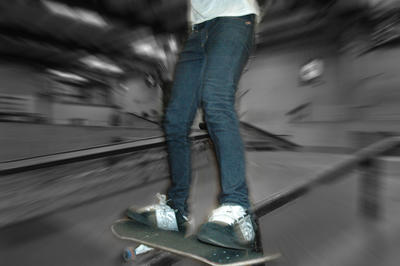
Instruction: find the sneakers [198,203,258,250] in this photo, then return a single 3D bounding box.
[{"bbox_3d":[0.090,0.291,0.592,0.123,0.084,0.202,-8,-26,26],"label":"sneakers"}]
